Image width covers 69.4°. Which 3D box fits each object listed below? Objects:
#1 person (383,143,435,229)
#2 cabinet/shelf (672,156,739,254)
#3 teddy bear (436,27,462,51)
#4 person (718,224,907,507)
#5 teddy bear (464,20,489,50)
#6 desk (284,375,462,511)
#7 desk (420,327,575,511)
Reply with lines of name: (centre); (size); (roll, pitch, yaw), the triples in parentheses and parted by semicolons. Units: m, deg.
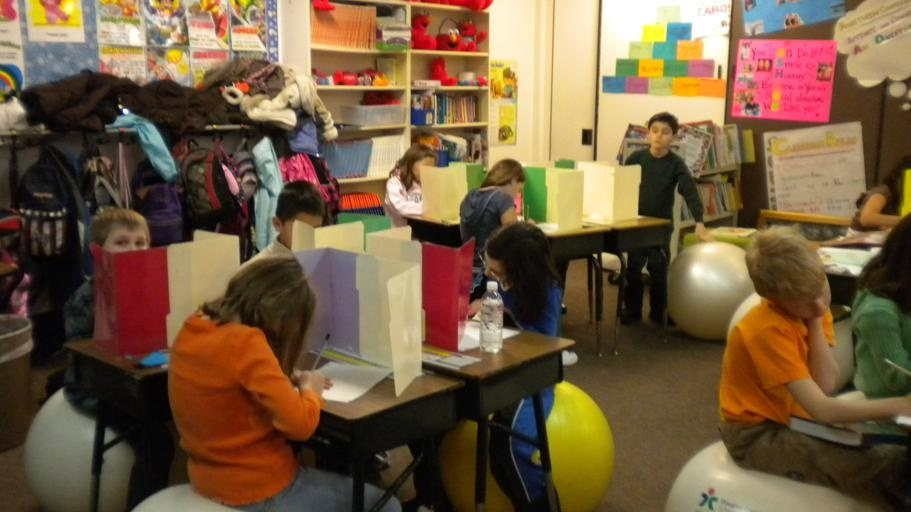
person: (-0.441, -0.689, 6.335); (0.495, 0.752, 0.434); (-2, 12, 1)
cabinet/shelf: (2.582, -0.540, 6.838); (0.315, 0.925, 1.007); (3, 10, 43)
teddy bear: (-0.107, -2.552, 7.726); (0.263, 0.212, 0.286); (-10, 13, -43)
person: (1.866, 0.488, 4.211); (1.388, 1.719, 1.080); (-1, 8, 23)
teddy bear: (0.239, -2.690, 7.954); (0.186, 0.332, 0.349); (6, 16, 39)
desk: (-0.438, 0.784, 3.454); (0.643, 0.661, 0.723); (-4, 5, -41)
desk: (0.319, 0.944, 3.913); (0.927, 1.096, 0.956); (2, 4, 42)
